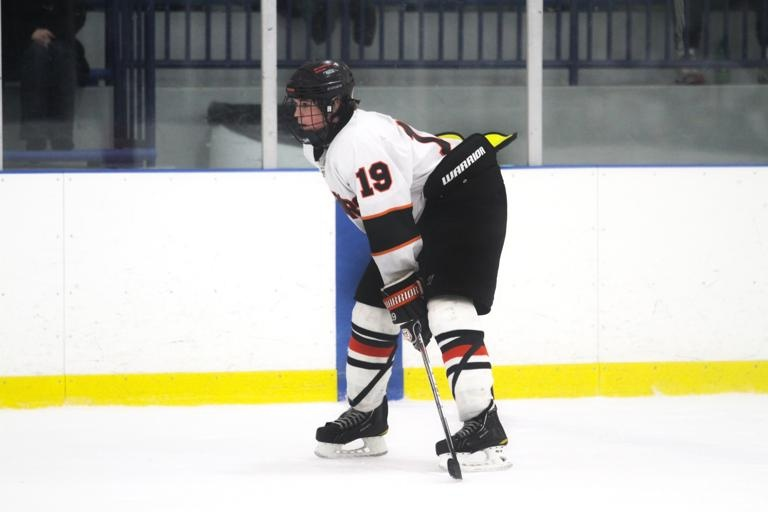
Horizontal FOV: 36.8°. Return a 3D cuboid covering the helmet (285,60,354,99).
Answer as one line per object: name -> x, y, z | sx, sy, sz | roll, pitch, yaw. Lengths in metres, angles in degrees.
helmet -> -0.320, -0.903, 5.987 | 0.265, 0.239, 0.217 | 1, 0, -14
